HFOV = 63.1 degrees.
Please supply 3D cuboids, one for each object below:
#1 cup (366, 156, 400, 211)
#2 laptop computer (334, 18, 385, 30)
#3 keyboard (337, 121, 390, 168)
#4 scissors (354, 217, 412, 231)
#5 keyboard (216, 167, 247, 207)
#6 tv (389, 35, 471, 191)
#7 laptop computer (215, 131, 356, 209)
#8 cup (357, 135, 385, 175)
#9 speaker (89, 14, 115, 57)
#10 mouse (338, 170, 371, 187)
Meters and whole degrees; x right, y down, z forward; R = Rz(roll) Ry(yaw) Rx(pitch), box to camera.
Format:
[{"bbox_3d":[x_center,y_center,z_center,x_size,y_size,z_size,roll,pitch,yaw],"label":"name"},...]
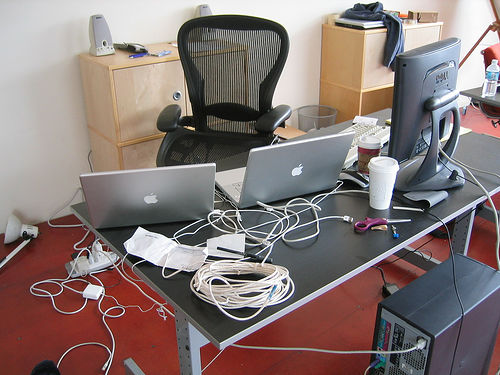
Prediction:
[{"bbox_3d":[0.569,-0.012,1.747,0.150,0.217,0.153,1,28,0],"label":"cup"},{"bbox_3d":[1.007,-1.530,3.803,0.460,0.086,0.214,11,29,26],"label":"laptop computer"},{"bbox_3d":[0.628,-0.274,2.254,0.208,0.057,0.392,17,38,33],"label":"keyboard"},{"bbox_3d":[0.549,0.139,1.674,0.208,0.024,0.082,-7,26,-6],"label":"scissors"},{"bbox_3d":[-0.088,-0.004,1.925,0.152,0.024,0.166,-21,43,-31],"label":"keyboard"},{"bbox_3d":[0.855,-0.317,1.850,0.306,0.623,0.515,21,34,39],"label":"tv"},{"bbox_3d":[0.138,-0.124,1.880,0.529,0.314,0.482,-8,23,-14],"label":"laptop computer"},{"bbox_3d":[0.561,-0.144,1.918,0.117,0.146,0.123,3,12,-1],"label":"cup"},{"bbox_3d":[-1.071,-1.076,2.885,0.174,0.267,0.098,-8,26,-11],"label":"speaker"},{"bbox_3d":[0.498,-0.053,1.918,0.127,0.043,0.074,21,34,37],"label":"mouse"}]
